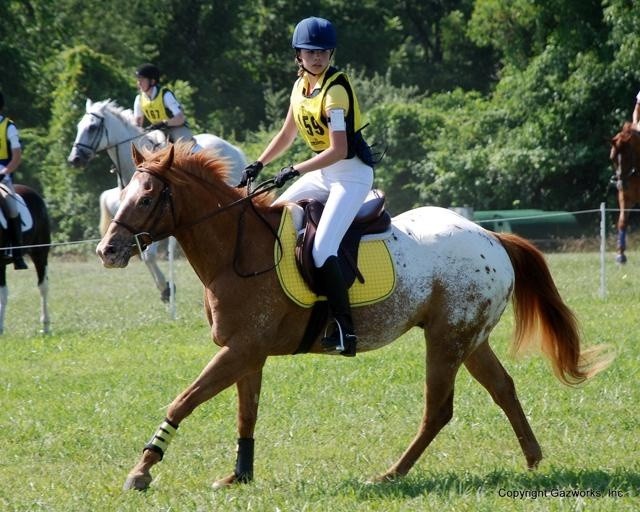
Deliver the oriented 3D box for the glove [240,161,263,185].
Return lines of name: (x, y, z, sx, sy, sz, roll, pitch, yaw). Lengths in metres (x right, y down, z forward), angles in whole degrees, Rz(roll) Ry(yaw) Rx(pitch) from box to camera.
glove: (-0.826, -1.019, 12.900, 0.188, 0.334, 0.122, 31, -10, 9)

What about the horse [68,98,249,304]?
horse: (-3.038, -1.091, 21.363, 1.240, 4.004, 5.267, -2, 2, 31)

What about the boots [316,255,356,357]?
boots: (0.199, 0.593, 12.442, 0.420, 1.162, 0.225, 0, 11, -1)

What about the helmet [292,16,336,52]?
helmet: (-0.075, -2.669, 12.629, 0.499, 0.370, 0.319, -1, 11, -6)

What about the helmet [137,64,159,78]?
helmet: (-3.271, -3.508, 19.810, 0.261, 0.236, 0.366, -7, 18, -41)

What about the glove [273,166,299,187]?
glove: (-0.400, -0.943, 12.548, 0.305, 0.180, 0.125, -40, -34, 17)
